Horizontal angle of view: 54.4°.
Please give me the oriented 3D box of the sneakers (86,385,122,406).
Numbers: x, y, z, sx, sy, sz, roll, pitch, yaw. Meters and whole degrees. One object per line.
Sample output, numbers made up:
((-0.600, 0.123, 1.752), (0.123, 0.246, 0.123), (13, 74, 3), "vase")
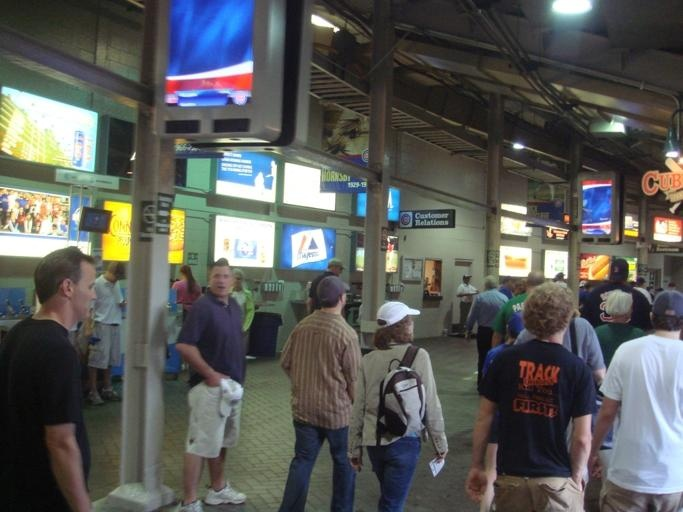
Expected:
((-3.270, 1.924, 9.049), (0.511, 0.235, 0.196), (-2, -4, 4), "sneakers")

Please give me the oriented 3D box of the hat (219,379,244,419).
((-0.996, 1.277, 5.914), (0.184, 0.341, 0.255), (9, 0, 21), "hat")

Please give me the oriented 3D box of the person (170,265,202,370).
((-2.668, 0.858, 11.283), (0.581, 1.454, 0.553), (-1, 14, -28), "person")

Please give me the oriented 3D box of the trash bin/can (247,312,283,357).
((-1.574, 1.535, 13.247), (0.748, 1.065, 0.819), (1, -2, -2), "trash bin/can")

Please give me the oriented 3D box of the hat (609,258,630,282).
((3.237, 0.150, 7.777), (0.180, 0.181, 0.313), (7, 23, 20), "hat")

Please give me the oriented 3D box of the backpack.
((0.475, 1.116, 5.107), (0.369, 0.549, 0.288), (-4, -6, -35), "backpack")

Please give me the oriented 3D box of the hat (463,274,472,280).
((3.374, 0.564, 18.160), (0.162, 0.137, 0.259), (1, -12, -11), "hat")

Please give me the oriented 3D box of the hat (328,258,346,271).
((-0.089, 0.135, 10.334), (0.148, 0.126, 0.220), (9, 11, 31), "hat")

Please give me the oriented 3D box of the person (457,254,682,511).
((1.288, 0.967, 4.534), (0.800, 1.545, 0.275), (3, -2, 12), "person")

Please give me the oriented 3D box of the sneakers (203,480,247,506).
((-1.088, 2.228, 6.244), (0.398, 0.223, 0.160), (2, -2, -11), "sneakers")

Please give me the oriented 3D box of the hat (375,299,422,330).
((0.439, 0.454, 5.230), (0.293, 0.153, 0.195), (-8, 5, -18), "hat")
